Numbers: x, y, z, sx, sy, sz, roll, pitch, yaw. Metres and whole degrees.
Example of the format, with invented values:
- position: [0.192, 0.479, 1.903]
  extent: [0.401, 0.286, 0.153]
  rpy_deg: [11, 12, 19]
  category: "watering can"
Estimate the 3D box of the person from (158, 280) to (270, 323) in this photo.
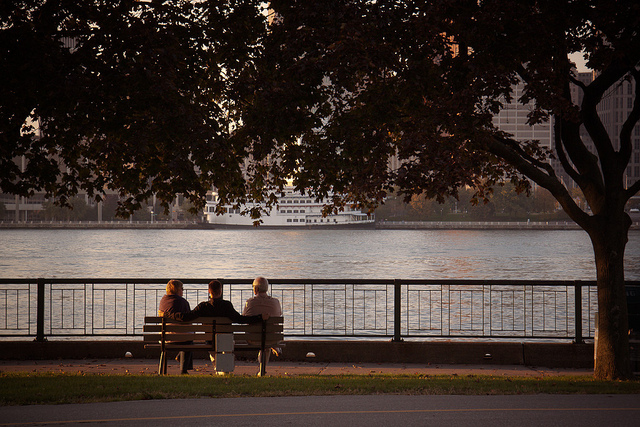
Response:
- position: [-2.944, 2.393, 41.703]
  extent: [2.967, 1.230, 0.495]
  rpy_deg: [0, -13, -4]
  category: "person"

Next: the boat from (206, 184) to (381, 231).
- position: [-3.904, -1.853, 203.647]
  extent: [25.395, 8.408, 6.858]
  rpy_deg: [2, -3, -15]
  category: "boat"

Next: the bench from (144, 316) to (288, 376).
- position: [-2.866, 3.680, 41.969]
  extent: [3.782, 1.563, 1.218]
  rpy_deg: [0, -7, -2]
  category: "bench"
